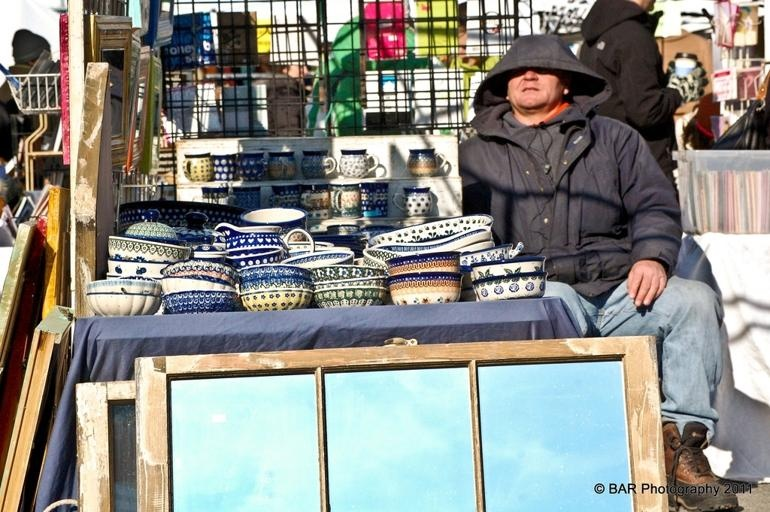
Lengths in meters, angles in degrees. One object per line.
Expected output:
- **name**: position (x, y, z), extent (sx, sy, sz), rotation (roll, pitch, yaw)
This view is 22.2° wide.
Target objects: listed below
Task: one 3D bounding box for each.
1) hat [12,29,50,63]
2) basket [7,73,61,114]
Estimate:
- **hat**: position (-2.480, -1.485, 13.690), extent (0.283, 0.243, 0.112), rotation (-1, 10, 17)
- **basket**: position (-2.127, -0.983, 11.838), extent (0.241, 0.135, 0.369), rotation (-3, -5, -8)
